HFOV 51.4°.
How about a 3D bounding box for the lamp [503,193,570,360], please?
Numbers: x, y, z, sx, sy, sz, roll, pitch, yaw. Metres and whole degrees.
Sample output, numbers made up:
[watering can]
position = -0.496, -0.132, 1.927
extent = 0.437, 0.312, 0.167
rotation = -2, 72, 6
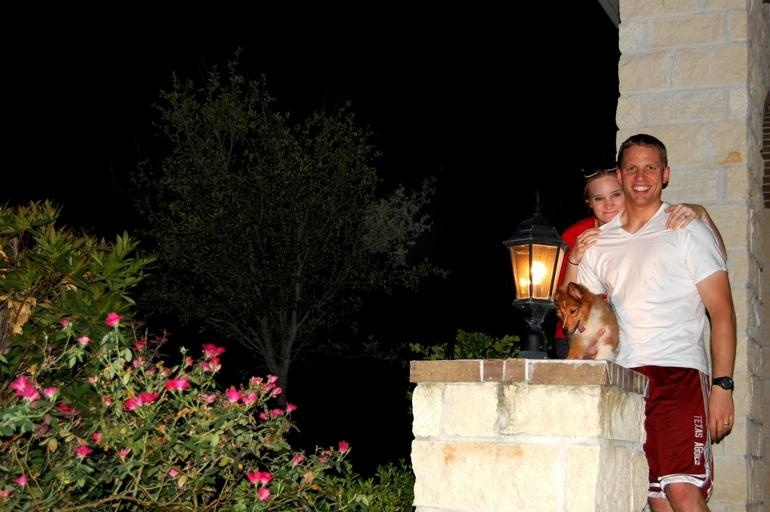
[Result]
[lamp]
position = 1.138, 0.135, 5.923
extent = 0.441, 1.254, 0.413
rotation = 4, -8, -8
